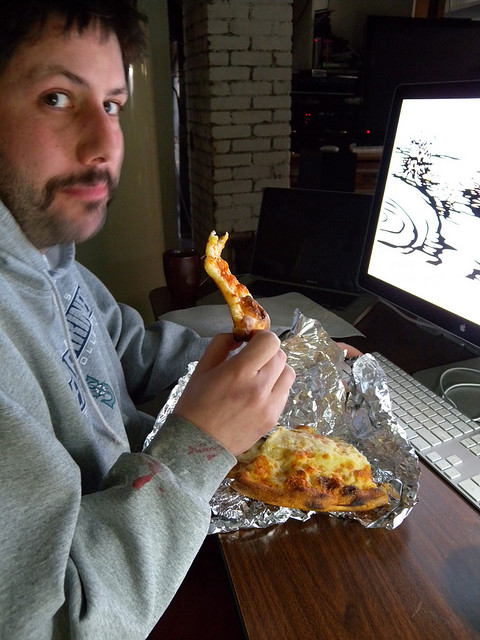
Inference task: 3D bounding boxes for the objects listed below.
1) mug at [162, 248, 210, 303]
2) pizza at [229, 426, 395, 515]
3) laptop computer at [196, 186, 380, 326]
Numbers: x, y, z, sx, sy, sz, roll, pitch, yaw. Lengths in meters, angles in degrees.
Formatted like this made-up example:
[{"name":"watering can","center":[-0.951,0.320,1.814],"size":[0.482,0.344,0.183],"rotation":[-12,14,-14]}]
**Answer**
[{"name":"mug","center":[-0.144,-0.135,1.426],"size":[0.151,0.136,0.096],"rotation":[-10,27,-23]},{"name":"pizza","center":[0.084,0.193,0.631],"size":[0.122,0.029,0.105],"rotation":[1,17,11]},{"name":"laptop computer","center":[0.239,-0.158,1.362],"size":[0.406,0.239,0.342],"rotation":[8,34,-17]}]
